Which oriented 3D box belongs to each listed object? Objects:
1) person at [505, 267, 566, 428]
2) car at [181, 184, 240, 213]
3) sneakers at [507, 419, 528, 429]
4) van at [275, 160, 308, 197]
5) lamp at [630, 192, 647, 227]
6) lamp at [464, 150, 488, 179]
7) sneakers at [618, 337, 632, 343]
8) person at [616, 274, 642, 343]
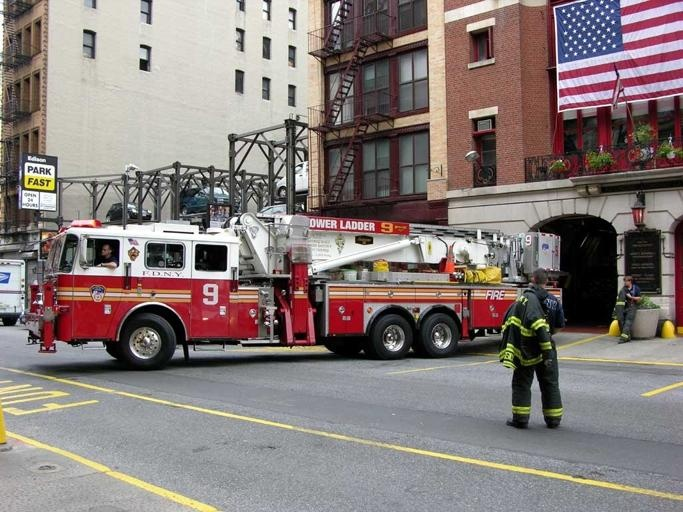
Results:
[{"bbox_3d":[3.048,1.496,12.445,0.966,2.525,0.610,1,2,9],"label":"person"},{"bbox_3d":[-8.026,-3.113,43.828,2.378,1.158,1.596,-10,-6,33],"label":"car"},{"bbox_3d":[2.800,2.700,12.372,0.130,0.134,0.303,-2,5,-23],"label":"sneakers"},{"bbox_3d":[-2.251,-3.837,38.599,1.234,1.279,2.211,-2,3,-42],"label":"van"},{"bbox_3d":[9.616,-1.511,24.998,0.400,1.178,0.557,1,2,24],"label":"lamp"},{"bbox_3d":[4.934,-3.469,28.649,0.605,1.109,1.813,1,2,13],"label":"lamp"},{"bbox_3d":[8.340,2.524,22.791,0.529,0.210,0.172,8,-11,-39],"label":"sneakers"},{"bbox_3d":[8.535,1.587,23.020,0.618,1.901,1.049,1,2,27],"label":"person"}]
